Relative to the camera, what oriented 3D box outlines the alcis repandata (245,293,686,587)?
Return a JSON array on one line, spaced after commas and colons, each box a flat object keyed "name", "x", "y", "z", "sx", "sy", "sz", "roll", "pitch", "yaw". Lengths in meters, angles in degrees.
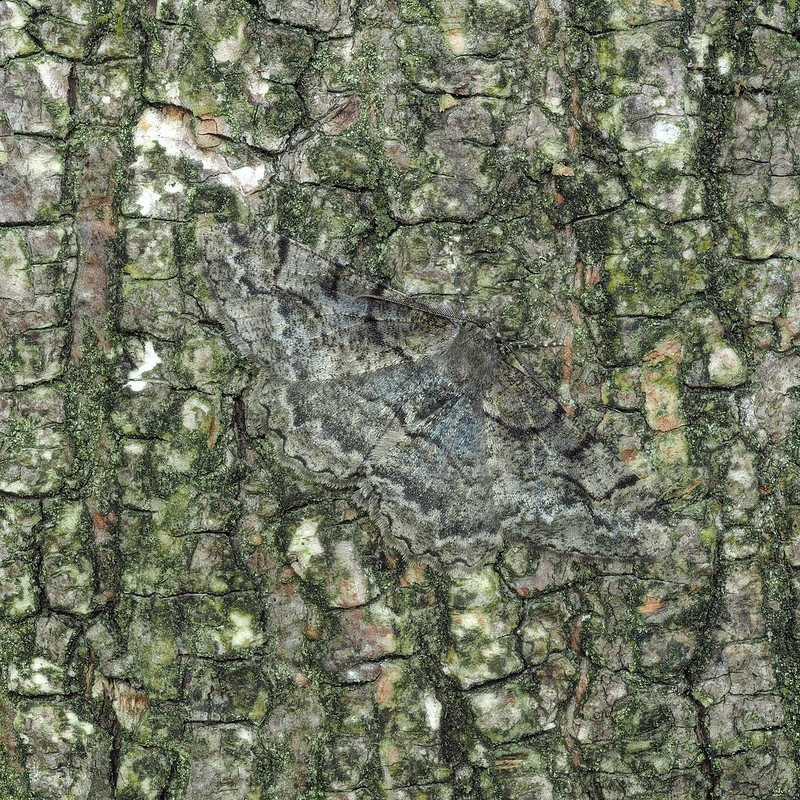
[{"name": "alcis repandata", "x": 0.208, "y": 0.186, "z": 6.672, "sx": 1.536, "sy": 0.346, "sz": 0.829, "roll": 37, "pitch": 86, "yaw": 1}]
